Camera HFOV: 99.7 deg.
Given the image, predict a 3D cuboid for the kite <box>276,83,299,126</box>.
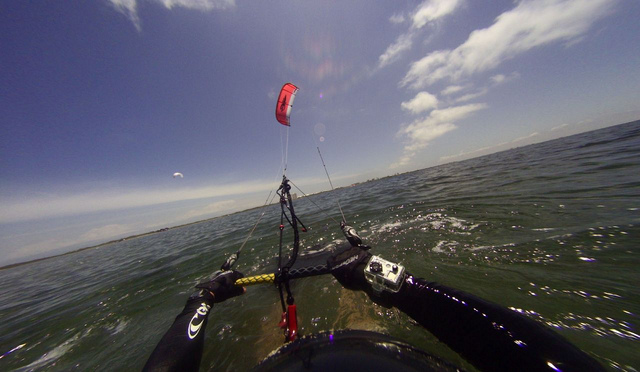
[{"bbox_3d":[-1.623,-3.949,13.069,1.287,1.965,0.755,-15,3,-7],"label":"kite"}]
